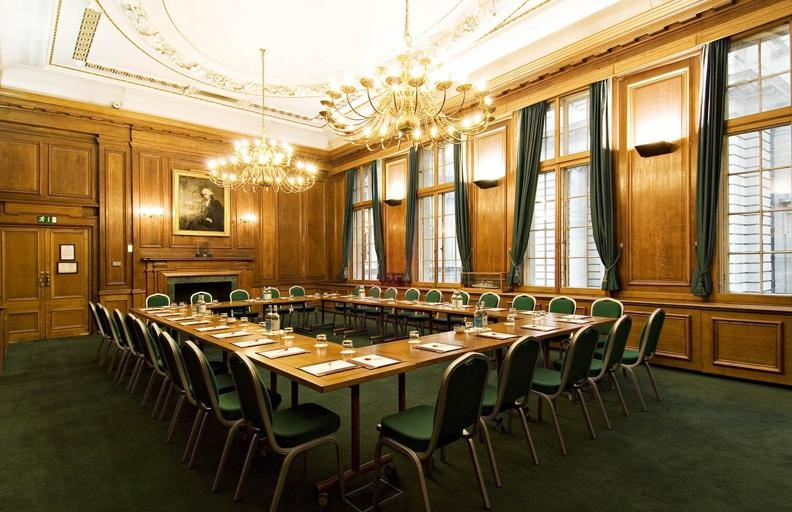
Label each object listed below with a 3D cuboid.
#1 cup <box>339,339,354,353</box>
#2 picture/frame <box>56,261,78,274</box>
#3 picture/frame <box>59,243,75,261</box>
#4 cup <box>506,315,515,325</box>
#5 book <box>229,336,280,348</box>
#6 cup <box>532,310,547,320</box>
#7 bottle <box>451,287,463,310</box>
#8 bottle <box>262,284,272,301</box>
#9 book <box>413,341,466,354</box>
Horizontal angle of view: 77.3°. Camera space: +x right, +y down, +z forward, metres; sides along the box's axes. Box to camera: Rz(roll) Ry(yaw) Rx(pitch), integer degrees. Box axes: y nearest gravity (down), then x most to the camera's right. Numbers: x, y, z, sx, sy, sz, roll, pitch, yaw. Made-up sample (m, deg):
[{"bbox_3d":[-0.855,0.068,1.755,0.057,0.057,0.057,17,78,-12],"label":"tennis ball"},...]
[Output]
[{"bbox_3d":[-0.639,1.081,6.112,0.210,0.183,0.213,-1,-4,0],"label":"cup"},{"bbox_3d":[-7.429,0.251,11.201,0.282,0.238,0.024,1,-4,-38],"label":"picture/frame"},{"bbox_3d":[-7.432,-0.103,11.194,0.385,0.449,0.034,2,-6,-44],"label":"picture/frame"},{"bbox_3d":[1.749,0.970,7.555,0.118,0.123,0.125,-1,-4,0],"label":"cup"},{"bbox_3d":[-1.869,1.145,6.555,0.732,0.054,0.553,-1,1,-38],"label":"book"},{"bbox_3d":[2.254,0.944,7.835,0.152,0.153,0.157,0,0,0],"label":"cup"},{"bbox_3d":[1.123,0.811,9.231,0.229,0.637,0.251,1,-8,0],"label":"bottle"},{"bbox_3d":[-3.013,0.849,11.566,0.218,0.399,0.220,1,4,0],"label":"bottle"},{"bbox_3d":[0.549,1.156,6.334,0.550,0.128,0.431,-3,-1,44],"label":"book"}]
